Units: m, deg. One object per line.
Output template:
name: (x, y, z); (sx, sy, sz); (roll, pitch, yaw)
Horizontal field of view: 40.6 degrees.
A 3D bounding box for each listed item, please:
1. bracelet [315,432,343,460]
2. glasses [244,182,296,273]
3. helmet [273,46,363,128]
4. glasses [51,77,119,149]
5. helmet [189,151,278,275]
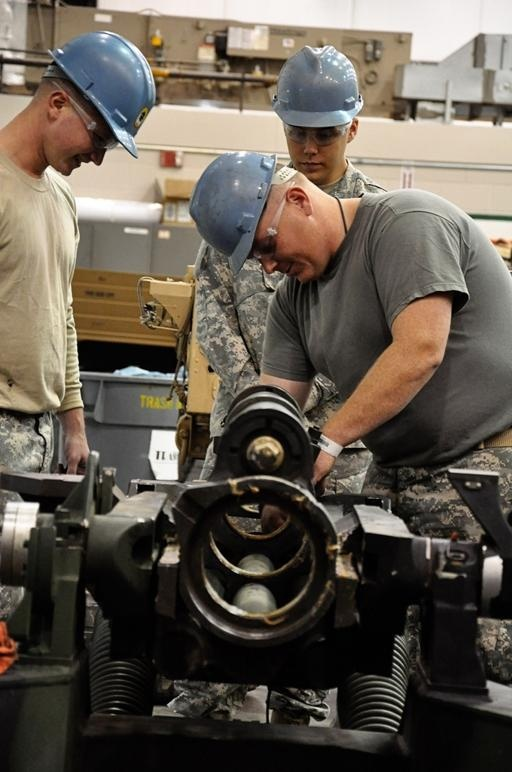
bracelet: (0.144, 0.118, 1.343); (0.047, 0.036, 0.049); (34, 4, -3)
glasses: (0.008, -0.336, 1.450); (0.057, 0.152, 0.105); (5, 21, -15)
helmet: (0.206, -0.975, 2.221); (0.248, 0.160, 0.306); (2, 35, 4)
glasses: (-0.470, -0.749, 1.912); (0.186, 0.046, 0.137); (46, 14, 1)
helmet: (-0.056, -0.365, 1.444); (0.175, 0.248, 0.132); (4, 12, -6)
